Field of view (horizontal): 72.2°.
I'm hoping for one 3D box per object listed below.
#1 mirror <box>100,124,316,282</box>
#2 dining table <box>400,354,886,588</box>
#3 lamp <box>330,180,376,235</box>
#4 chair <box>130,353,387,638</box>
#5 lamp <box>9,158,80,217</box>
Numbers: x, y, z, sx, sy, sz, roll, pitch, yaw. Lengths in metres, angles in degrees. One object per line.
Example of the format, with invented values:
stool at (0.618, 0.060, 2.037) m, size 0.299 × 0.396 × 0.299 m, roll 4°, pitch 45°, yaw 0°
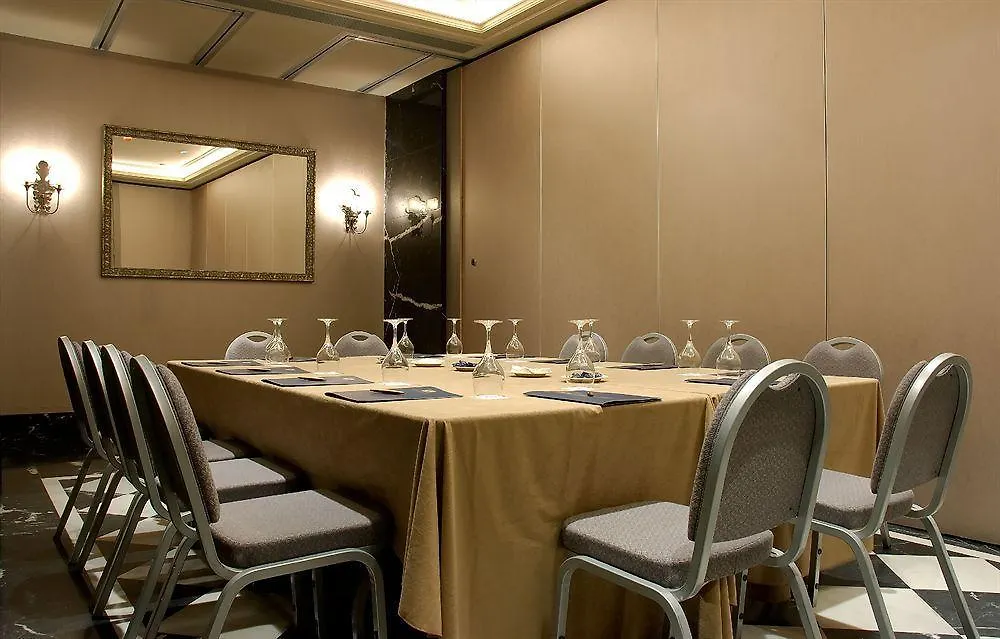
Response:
mirror at (-3.312, -1.279, 7.544) m, size 1.810 × 1.367 × 0.049 m, roll 2°, pitch -3°, yaw -33°
dining table at (0.372, 0.606, 2.978) m, size 1.462 × 0.707 × 1.465 m, roll 1°, pitch -2°, yaw -35°
lamp at (-1.802, -1.401, 8.433) m, size 0.523 × 0.587 × 0.119 m, roll -23°, pitch 5°, yaw -40°
chair at (-1.052, 0.705, 3.312) m, size 1.192 × 1.641 × 0.995 m, roll -3°, pitch 4°, yaw -28°
lamp at (-4.580, -1.317, 6.841) m, size 0.135 × 0.847 × 0.603 m, roll -2°, pitch -3°, yaw 42°
